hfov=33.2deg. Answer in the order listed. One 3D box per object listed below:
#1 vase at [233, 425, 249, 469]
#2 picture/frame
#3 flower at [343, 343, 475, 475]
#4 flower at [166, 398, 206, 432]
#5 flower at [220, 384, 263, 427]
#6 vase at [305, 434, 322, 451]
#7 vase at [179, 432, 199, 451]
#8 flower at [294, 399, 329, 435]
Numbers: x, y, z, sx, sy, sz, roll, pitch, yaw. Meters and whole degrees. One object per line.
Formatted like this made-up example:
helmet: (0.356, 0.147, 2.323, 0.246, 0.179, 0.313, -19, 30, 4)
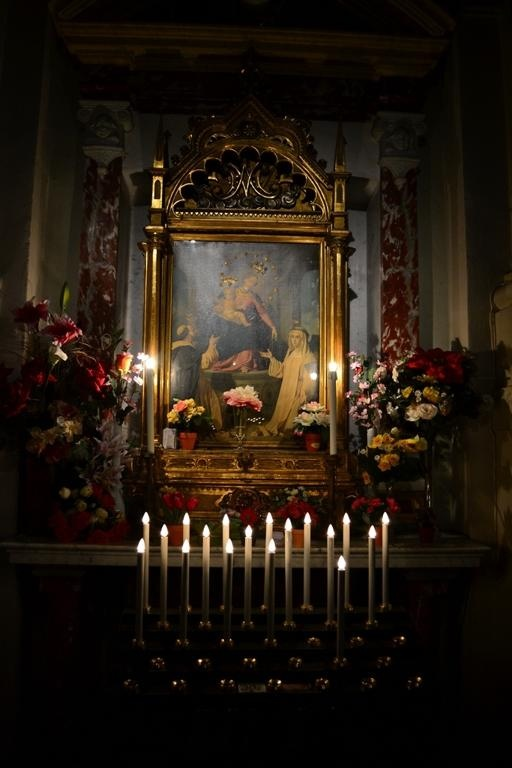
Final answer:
vase: (-0.063, 0.289, 4.012, 0.087, 0.227, 0.220, 3, -2, -3)
picture/frame: (-0.043, -0.242, 4.257, 0.814, 1.036, 0.033, 0, 32, -4)
flower: (0.666, 0.137, 3.781, 0.601, 0.576, 0.358, 2, -3, 23)
flower: (-0.319, 0.139, 4.052, 0.160, 0.156, 0.162, 3, 6, 15)
flower: (-0.070, 0.101, 4.062, 0.195, 0.195, 0.182, 1, -2, -20)
vase: (0.265, 0.272, 4.019, 0.077, 0.069, 0.077, 4, -3, -8)
vase: (-0.307, 0.265, 4.007, 0.092, 0.093, 0.075, 1, -12, -3)
flower: (0.262, 0.158, 4.024, 0.156, 0.157, 0.149, 2, 0, -2)
